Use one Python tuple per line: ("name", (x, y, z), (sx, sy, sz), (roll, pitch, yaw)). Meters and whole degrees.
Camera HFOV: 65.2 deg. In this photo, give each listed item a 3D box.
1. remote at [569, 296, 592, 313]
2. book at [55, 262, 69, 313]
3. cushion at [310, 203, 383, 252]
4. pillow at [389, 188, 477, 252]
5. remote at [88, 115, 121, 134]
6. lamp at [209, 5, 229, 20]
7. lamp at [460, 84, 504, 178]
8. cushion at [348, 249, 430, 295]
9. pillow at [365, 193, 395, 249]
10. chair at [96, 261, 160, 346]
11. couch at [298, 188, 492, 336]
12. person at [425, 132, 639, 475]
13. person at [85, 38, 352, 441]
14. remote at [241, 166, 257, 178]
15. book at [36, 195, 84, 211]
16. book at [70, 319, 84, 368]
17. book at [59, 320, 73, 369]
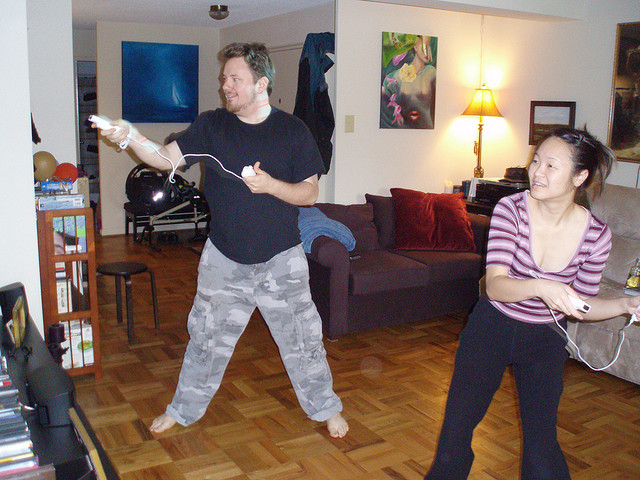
("remote", (0.820, 0.205, 1.573), (0.061, 0.034, 0.016), (25, -1, 22))
("book", (-1.590, 0.318, 3.076), (0.056, 0.334, 0.214), (-7, 16, -28))
("cushion", (0.296, -0.025, 4.430), (0.657, 0.194, 0.689), (0, -21, -31))
("pillow", (0.985, -0.172, 4.314), (0.716, 0.486, 0.324), (1, 14, -2))
("remote", (-0.880, -0.472, 2.042), (0.117, 0.072, 0.106), (-4, 16, -21))
("lamp", (-1.036, -2.351, 5.154), (0.154, 0.106, 0.157), (12, 24, 26))
("lamp", (1.715, -1.166, 5.370), (0.447, 0.988, 0.278), (-7, 16, -29))
("cushion", (0.462, 0.241, 3.932), (0.727, 0.205, 0.443), (-6, 16, -26))
("pillow", (0.567, -0.185, 4.307), (0.356, 0.372, 0.145), (-16, 7, -34))
("chair", (-1.533, 0.524, 3.970), (0.483, 0.758, 0.471), (-4, 10, -31))
("couch", (0.670, 0.132, 4.218), (1.772, 0.970, 0.819), (-5, 16, -22))
("person", (0.806, 0.287, 1.826), (0.559, 1.322, 0.489), (-13, 20, -43))
("person", (-0.366, 0.071, 2.458), (1.098, 1.991, 0.563), (1, 14, 0))
("remote", (-0.307, -0.290, 2.118), (0.057, 0.044, 0.088), (-6, 16, -25))
("book", (-1.546, -0.224, 2.963), (0.251, 0.070, 0.210), (-6, 16, -26))
("book", (-1.478, 0.644, 3.046), (0.088, 0.367, 0.027), (-7, -4, 5))
("book", (-1.515, 0.638, 2.973), (0.059, 0.324, 0.200), (-5, 16, -24))
